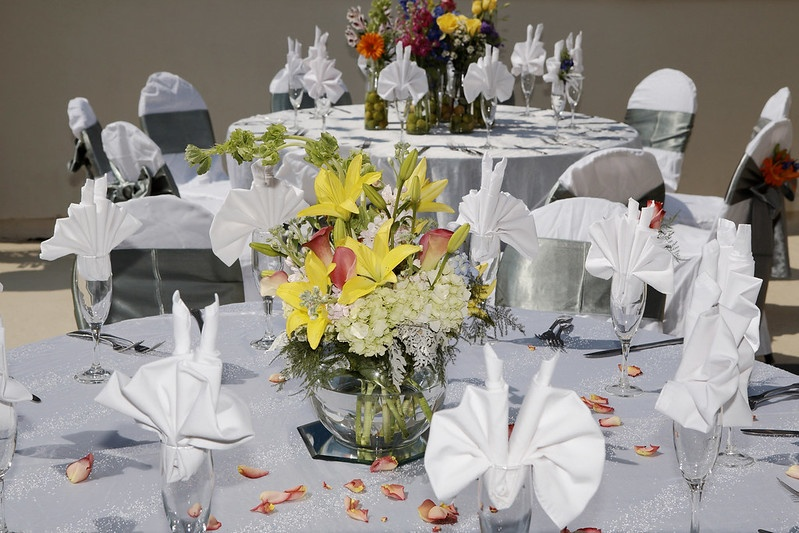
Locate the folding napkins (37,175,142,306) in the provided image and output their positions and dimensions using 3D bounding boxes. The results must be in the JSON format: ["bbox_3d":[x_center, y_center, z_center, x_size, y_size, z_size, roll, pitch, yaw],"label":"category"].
[{"bbox_3d":[-0.945,-0.106,2.676,0.314,0.336,0.124,-14,20,-37],"label":"folding napkins"}]

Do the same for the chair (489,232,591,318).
[{"bbox_3d":[0.557,0.024,3.462,0.262,0.409,0.308,12,-4,13],"label":"chair"}]

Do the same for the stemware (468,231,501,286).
[{"bbox_3d":[0.265,-0.042,2.695,0.094,0.176,0.109,0,-29,8],"label":"stemware"}]

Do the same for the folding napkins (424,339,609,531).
[{"bbox_3d":[0.294,0.422,2.136,0.376,0.448,0.111,3,3,1],"label":"folding napkins"}]

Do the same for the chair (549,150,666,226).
[{"bbox_3d":[0.903,-0.417,3.974,0.526,0.214,0.336,3,-2,-25],"label":"chair"}]

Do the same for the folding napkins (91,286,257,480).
[{"bbox_3d":[-0.515,0.281,2.126,0.296,0.448,0.163,-1,-7,4],"label":"folding napkins"}]

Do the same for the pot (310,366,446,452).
[{"bbox_3d":[-0.048,0.413,2.526,0.387,0.217,0.406,-3,7,0],"label":"pot"}]

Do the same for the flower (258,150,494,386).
[{"bbox_3d":[-0.020,0.065,2.521,0.536,0.795,0.639,1,-15,13],"label":"flower"}]

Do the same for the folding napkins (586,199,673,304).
[{"bbox_3d":[0.692,-0.039,2.613,0.124,0.296,0.245,-7,0,-44],"label":"folding napkins"}]

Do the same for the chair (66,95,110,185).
[{"bbox_3d":[-1.757,-0.708,4.865,0.213,0.453,0.450,-8,15,-22],"label":"chair"}]

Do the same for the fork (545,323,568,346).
[{"bbox_3d":[0.534,0.236,2.905,0.045,0.087,0.028,29,-36,-17],"label":"fork"}]
